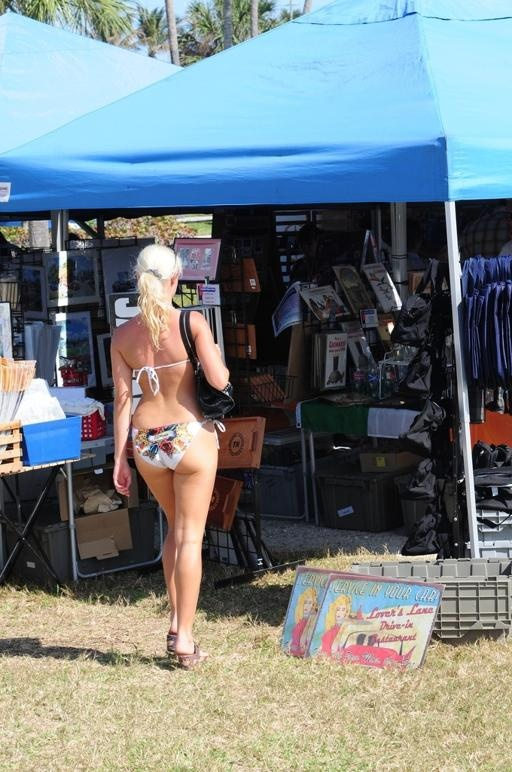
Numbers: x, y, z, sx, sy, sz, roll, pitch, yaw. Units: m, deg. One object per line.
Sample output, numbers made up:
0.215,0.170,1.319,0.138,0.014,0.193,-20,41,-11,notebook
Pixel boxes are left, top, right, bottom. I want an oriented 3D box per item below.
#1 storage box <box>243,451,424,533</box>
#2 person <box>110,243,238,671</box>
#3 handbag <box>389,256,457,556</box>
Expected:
0.596,0.782,5.561,0.665,0.329,0.928,-7,10,-43,storage box
-0.311,0.283,2.592,0.380,1.568,0.382,-1,-3,-16,person
0.781,0.110,3.329,0.261,1.364,0.371,-2,-3,14,handbag
